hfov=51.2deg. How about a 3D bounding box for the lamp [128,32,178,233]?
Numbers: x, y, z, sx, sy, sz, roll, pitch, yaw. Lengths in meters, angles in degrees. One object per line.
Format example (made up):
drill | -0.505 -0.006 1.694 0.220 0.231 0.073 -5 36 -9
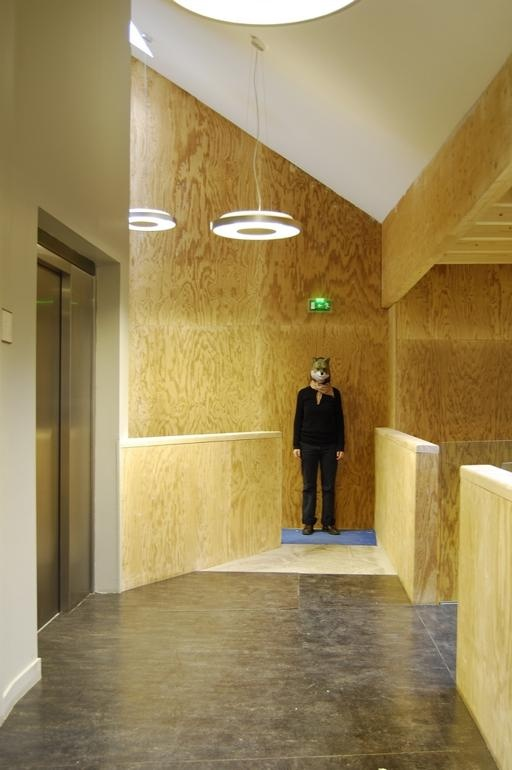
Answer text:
lamp | -1.073 -2.525 5.499 0.460 2.269 1.208 1 -6 -14

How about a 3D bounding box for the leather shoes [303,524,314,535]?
leather shoes | 0.580 1.605 5.907 0.140 0.095 0.188 0 -8 -4

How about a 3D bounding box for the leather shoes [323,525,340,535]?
leather shoes | 0.831 1.615 5.927 0.064 0.112 0.217 2 -14 -17

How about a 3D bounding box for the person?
person | 0.701 0.684 6.020 0.557 1.946 0.275 0 -6 4
